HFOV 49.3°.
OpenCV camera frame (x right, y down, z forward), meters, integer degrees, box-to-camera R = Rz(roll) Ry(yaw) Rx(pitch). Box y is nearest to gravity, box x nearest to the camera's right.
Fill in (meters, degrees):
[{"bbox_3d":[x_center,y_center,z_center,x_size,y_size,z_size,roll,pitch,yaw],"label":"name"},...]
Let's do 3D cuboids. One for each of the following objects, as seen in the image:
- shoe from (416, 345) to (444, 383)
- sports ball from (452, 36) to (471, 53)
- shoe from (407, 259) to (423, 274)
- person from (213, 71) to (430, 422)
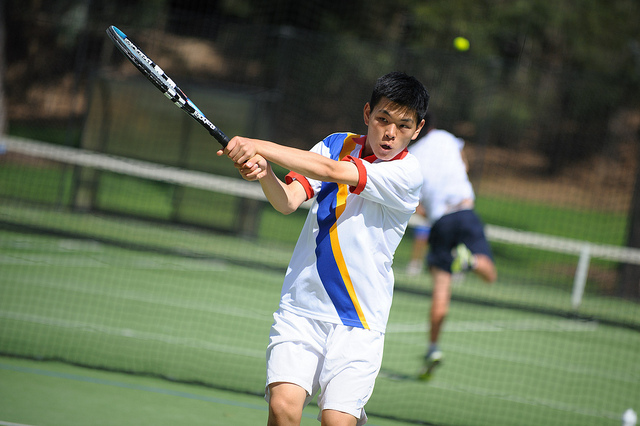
[{"bbox_3d":[1.187,1.646,7.626,0.227,0.560,0.183,-19,60,-29],"label":"shoe"},{"bbox_3d":[2.168,-2.549,10.605,0.317,0.242,0.234,15,9,17],"label":"sports ball"},{"bbox_3d":[1.637,0.911,11.831,0.221,0.239,0.235,1,-6,-5],"label":"shoe"},{"bbox_3d":[0.081,0.219,5.505,1.240,2.818,0.791,12,8,6],"label":"person"}]
